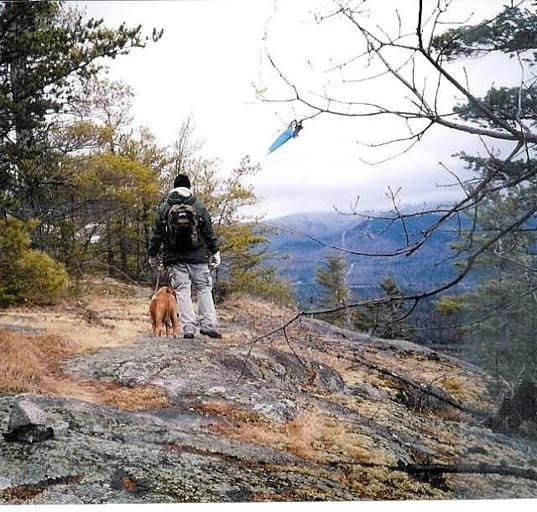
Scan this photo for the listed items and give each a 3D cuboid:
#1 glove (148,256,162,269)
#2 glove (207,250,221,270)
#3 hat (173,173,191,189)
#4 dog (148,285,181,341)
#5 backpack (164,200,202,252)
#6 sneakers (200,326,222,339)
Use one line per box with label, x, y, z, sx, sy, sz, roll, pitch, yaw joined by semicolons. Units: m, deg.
glove;-1.487;0.073;8.403;0.151;0.092;0.118;14;15;23
glove;-0.620;0.028;7.869;0.074;0.229;0.158;10;-15;-31
hat;-1.030;-0.892;7.784;0.138;0.207;0.186;3;-10;-34
dog;-1.272;0.667;7.937;0.263;0.626;0.803;3;0;-14
backpack;-1.008;-0.449;7.587;0.457;0.392;0.739;2;-43;-3
sneakers;-0.681;0.897;7.687;0.267;0.134;0.105;12;-3;-2
